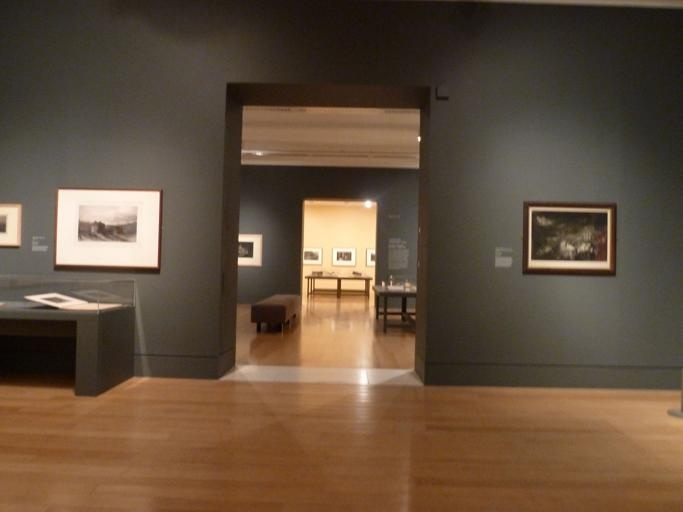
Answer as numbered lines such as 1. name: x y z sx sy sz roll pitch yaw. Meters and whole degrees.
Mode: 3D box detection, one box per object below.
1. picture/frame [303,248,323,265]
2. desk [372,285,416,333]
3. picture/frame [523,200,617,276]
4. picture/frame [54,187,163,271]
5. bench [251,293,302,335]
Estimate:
1. picture/frame: -1.106 0.007 22.232 0.597 0.510 0.024 1 -7 -5
2. desk: 1.244 1.144 13.444 0.861 0.786 1.533 0 4 -4
3. picture/frame: 3.344 -0.261 8.502 0.955 0.903 0.079 0 1 0
4. picture/frame: -3.413 -0.449 8.596 1.079 0.955 0.044 1 3 -1
5. bench: -1.448 1.256 12.759 0.740 0.799 1.764 2 12 7
